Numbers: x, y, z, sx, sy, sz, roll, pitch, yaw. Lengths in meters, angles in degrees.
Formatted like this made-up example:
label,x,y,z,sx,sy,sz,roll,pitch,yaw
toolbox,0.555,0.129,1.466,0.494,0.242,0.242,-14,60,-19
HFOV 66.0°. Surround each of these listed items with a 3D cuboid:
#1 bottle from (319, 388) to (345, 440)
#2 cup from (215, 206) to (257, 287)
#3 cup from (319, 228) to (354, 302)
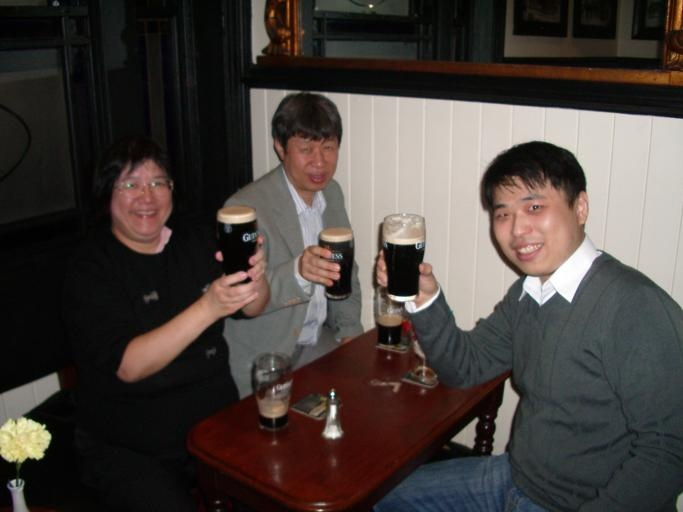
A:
label,x,y,z,sx,sy,sz,roll,pitch,yaw
bottle,-0.030,0.515,1.843,0.075,0.168,0.186,0,16,0
cup,-0.337,-0.033,1.734,0.127,0.249,0.126,0,15,0
cup,-0.008,0.039,2.027,0.126,0.292,0.169,7,17,26
